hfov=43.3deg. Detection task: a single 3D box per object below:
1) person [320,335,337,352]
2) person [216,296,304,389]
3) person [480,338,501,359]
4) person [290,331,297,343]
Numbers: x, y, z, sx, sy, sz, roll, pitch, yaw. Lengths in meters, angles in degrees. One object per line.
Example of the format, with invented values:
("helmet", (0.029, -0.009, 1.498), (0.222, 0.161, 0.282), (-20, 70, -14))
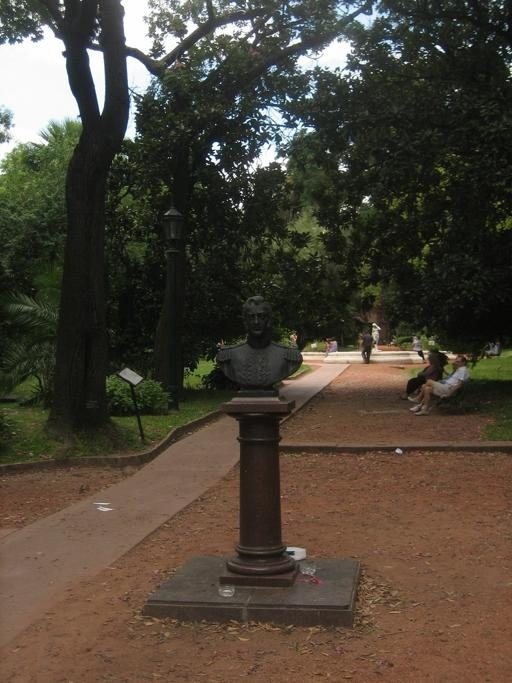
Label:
("person", (4.881, 0.167, 42.475), (1.282, 1.452, 1.145), (-4, 4, 10))
("person", (0.028, 0.014, 4.572), (0.593, 0.690, 0.448), (0, 2, -3))
("person", (9.263, 0.293, 25.297), (0.409, 0.542, 0.935), (-14, -21, 18))
("person", (1.840, -0.181, 31.462), (0.364, 0.885, 0.383), (2, 12, 3))
